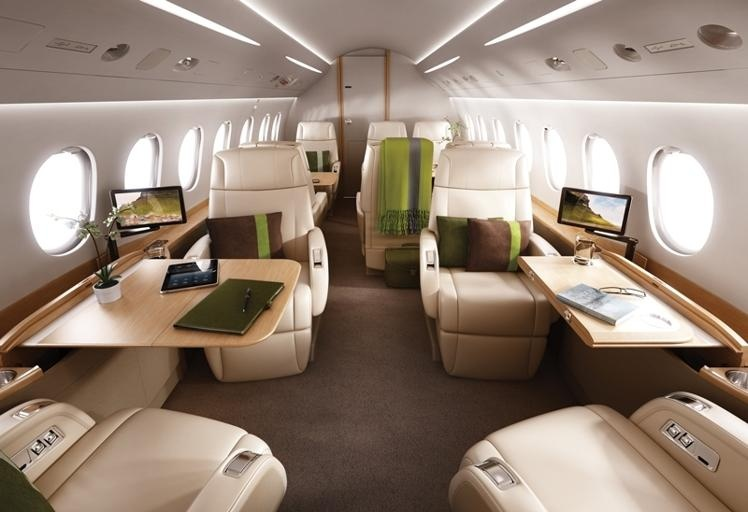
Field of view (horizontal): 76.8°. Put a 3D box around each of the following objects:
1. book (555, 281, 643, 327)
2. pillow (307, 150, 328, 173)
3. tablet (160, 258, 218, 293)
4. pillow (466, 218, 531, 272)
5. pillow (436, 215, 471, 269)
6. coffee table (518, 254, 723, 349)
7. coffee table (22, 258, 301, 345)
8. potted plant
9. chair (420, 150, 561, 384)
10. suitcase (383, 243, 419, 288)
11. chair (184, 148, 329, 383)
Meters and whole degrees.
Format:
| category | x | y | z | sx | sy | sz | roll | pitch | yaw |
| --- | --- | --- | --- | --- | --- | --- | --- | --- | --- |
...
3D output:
| category | x | y | z | sx | sy | sz | roll | pitch | yaw |
| --- | --- | --- | --- | --- | --- | --- | --- | --- | --- |
| book | 1.330 | 0.274 | 2.783 | 0.246 | 0.051 | 0.248 | -14 | 29 | -33 |
| pillow | -0.852 | -1.392 | 7.147 | 0.338 | 0.350 | 0.333 | -1 | -1 | -8 |
| tablet | -1.200 | 0.134 | 3.062 | 0.338 | 0.038 | 0.254 | -11 | 23 | -12 |
| pillow | 0.990 | -0.081 | 3.809 | 0.399 | 0.373 | 0.154 | 1 | 1 | 2 |
| pillow | 0.663 | -0.106 | 3.916 | 0.381 | 0.473 | 0.176 | 0 | -5 | -4 |
| coffee table | 1.472 | 0.257 | 2.965 | 0.758 | 0.287 | 0.970 | -4 | 16 | -7 |
| coffee table | -1.218 | 0.268 | 2.921 | 1.373 | 0.230 | 0.898 | -1 | 16 | 2 |
| potted plant | -1.893 | -0.025 | 3.129 | 0.619 | 0.711 | 0.251 | 0 | 27 | -13 |
| chair | 0.924 | 0.012 | 3.938 | 1.119 | 1.622 | 1.356 | -2 | 22 | -3 |
| suitcase | 0.317 | 0.069 | 4.890 | 0.433 | 0.438 | 0.346 | -2 | 22 | 0 |
| chair | -0.927 | -0.007 | 3.780 | 1.125 | 1.480 | 1.584 | -5 | 21 | -16 |
